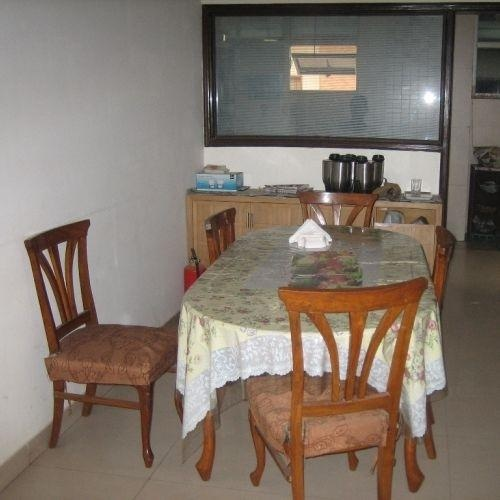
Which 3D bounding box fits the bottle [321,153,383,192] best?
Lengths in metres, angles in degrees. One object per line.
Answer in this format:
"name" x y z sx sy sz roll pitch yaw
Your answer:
"bottle" 0.845 -0.653 3.741 0.428 0.287 0.306 4 12 17
